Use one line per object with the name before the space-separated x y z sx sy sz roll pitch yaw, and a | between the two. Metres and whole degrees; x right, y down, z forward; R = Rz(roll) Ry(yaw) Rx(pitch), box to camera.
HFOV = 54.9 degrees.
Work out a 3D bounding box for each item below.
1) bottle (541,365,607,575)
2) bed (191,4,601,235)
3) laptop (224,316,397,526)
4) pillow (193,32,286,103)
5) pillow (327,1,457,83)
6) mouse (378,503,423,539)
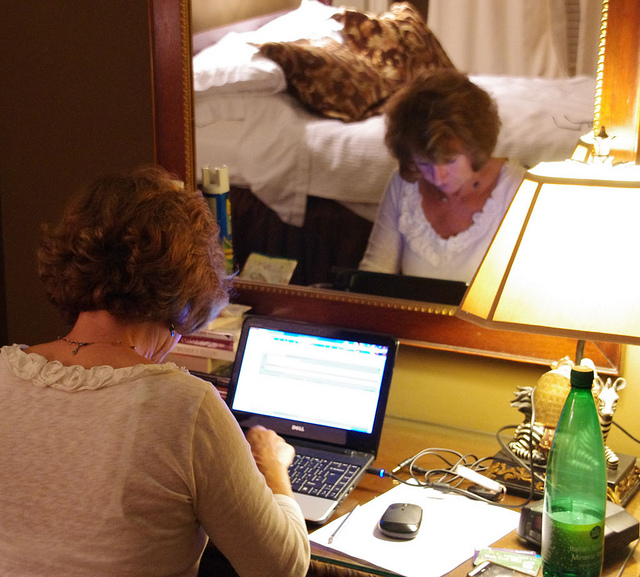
bottle | 0.393 0.301 0.957 0.087 0.283 0.100 3 11 25
bed | 0.077 -0.453 1.561 0.762 0.333 0.550 11 47 18
laptop | -0.086 0.250 1.347 0.418 0.301 0.386 5 7 29
pillow | -0.207 -0.550 1.617 0.173 0.057 0.200 -17 52 11
pillow | 0.178 -0.571 1.432 0.260 0.180 0.035 3 11 27
mouse | 0.145 0.426 1.133 0.077 0.030 0.077 0 10 13
